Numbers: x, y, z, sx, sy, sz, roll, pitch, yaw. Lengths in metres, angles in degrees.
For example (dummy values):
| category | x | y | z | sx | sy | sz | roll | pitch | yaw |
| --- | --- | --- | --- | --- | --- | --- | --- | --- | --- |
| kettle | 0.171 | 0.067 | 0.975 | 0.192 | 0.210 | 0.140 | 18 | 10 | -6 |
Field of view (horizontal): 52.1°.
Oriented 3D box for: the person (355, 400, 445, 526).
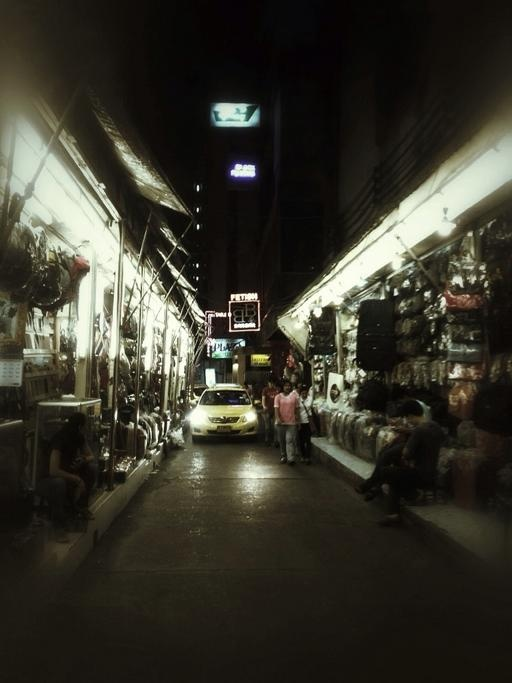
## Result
| category | x | y | z | sx | sy | sz | roll | pitch | yaw |
| --- | --- | --- | --- | --- | --- | --- | --- | --- | --- |
| person | 1.603 | 1.253 | 5.879 | 0.707 | 1.219 | 1.209 | 0 | -4 | 2 |

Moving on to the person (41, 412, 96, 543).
| category | x | y | z | sx | sy | sz | roll | pitch | yaw |
| --- | --- | --- | --- | --- | --- | --- | --- | --- | --- |
| person | -1.580 | 1.073 | 4.460 | 0.403 | 0.923 | 0.837 | 1 | -4 | -18 |

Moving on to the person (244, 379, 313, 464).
| category | x | y | z | sx | sy | sz | roll | pitch | yaw |
| --- | --- | --- | --- | --- | --- | --- | --- | --- | --- |
| person | 0.665 | 1.523 | 10.018 | 0.636 | 1.549 | 0.983 | 0 | -4 | 10 |
